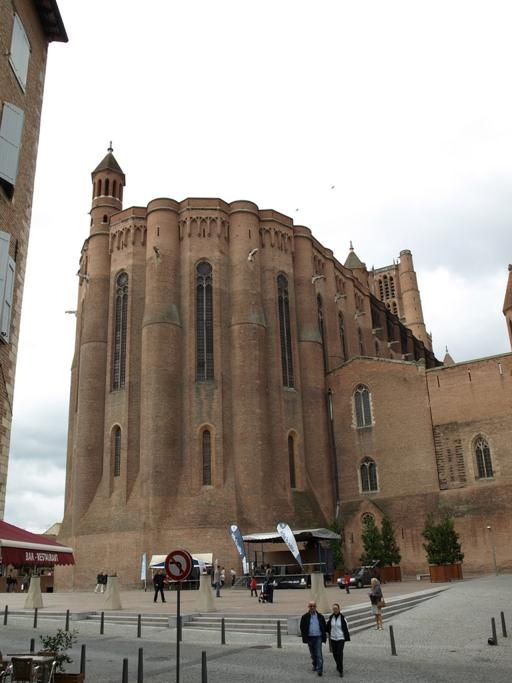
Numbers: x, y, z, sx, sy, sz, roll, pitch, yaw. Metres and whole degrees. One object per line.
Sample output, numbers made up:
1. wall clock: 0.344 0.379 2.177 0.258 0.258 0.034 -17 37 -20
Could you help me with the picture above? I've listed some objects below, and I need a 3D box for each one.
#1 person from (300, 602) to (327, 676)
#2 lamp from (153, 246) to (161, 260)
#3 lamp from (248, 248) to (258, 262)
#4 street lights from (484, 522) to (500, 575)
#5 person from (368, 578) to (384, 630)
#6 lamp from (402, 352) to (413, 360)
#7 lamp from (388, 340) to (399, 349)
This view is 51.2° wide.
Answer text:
1. person: 0.957 4.841 8.783 0.414 0.998 0.992 -5 -20 2
2. lamp: -7.215 -6.463 38.547 0.519 1.238 0.429 -13 -22 22
3. lamp: -0.287 -6.378 39.355 0.382 1.460 1.081 -4 -52 12
4. street lights: 14.163 12.387 31.828 0.454 2.673 0.254 -14 -22 24
5. person: 3.335 7.145 14.657 0.328 1.212 1.375 -8 -20 9
6. lamp: 16.518 1.621 58.341 0.795 0.582 0.770 15 -11 -6
7. lamp: 14.791 0.269 57.630 1.327 1.144 0.446 4 -22 -21
